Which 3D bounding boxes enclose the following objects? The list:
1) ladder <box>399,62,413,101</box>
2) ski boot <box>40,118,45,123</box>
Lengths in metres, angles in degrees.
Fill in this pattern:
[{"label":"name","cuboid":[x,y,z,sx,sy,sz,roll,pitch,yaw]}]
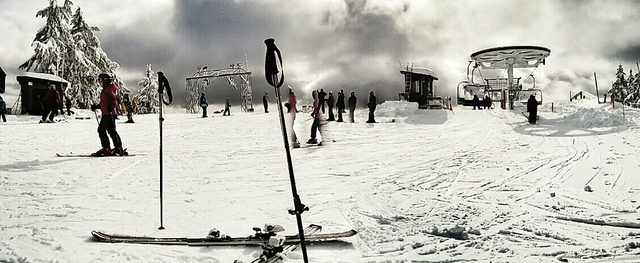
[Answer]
[{"label":"ladder","cuboid":[11.407,-6.257,58.755,1.178,4.129,1.404,0,4,14]},{"label":"ski boot","cuboid":[-27.376,-1.091,44.082,0.604,0.358,0.267,3,6,37]}]
